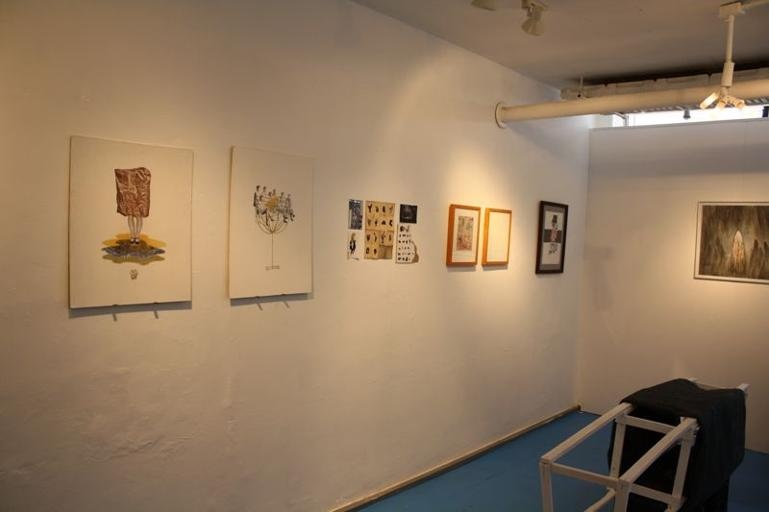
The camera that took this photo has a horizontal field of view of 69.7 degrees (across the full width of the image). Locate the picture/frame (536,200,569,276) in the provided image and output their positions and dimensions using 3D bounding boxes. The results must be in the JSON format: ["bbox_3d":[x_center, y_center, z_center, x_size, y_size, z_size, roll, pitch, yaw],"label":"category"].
[{"bbox_3d":[1.966,-0.234,6.490,0.039,0.971,0.826,8,10,44],"label":"picture/frame"}]

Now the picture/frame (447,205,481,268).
[{"bbox_3d":[0.770,-0.205,5.432,0.050,0.730,0.610,2,1,42],"label":"picture/frame"}]

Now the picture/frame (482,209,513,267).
[{"bbox_3d":[1.181,-0.207,5.797,0.042,0.607,0.572,7,8,42],"label":"picture/frame"}]
